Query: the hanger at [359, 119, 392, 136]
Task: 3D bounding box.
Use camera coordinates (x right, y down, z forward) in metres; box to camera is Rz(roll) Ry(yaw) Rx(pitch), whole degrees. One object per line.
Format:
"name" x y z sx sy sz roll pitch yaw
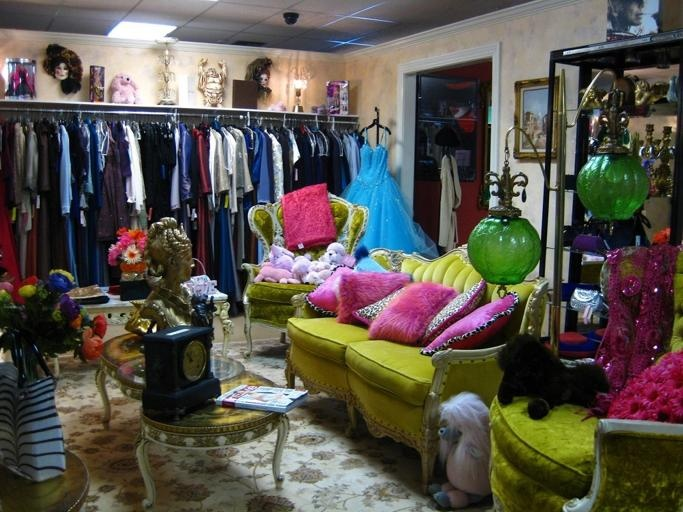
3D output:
"hanger" 0.404 -1.486 6.238 0.296 0.303 0.012 4 6 20

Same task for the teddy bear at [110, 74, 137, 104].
"teddy bear" -2.263 -1.723 5.572 0.248 0.301 0.185 -1 8 -16

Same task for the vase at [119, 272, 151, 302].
"vase" -1.457 0.225 3.790 0.232 0.166 0.128 0 7 -6

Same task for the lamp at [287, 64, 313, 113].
"lamp" -0.510 -1.978 6.366 0.239 0.597 0.443 1 8 2

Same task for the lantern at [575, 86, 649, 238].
"lantern" 1.247 -0.438 2.450 0.271 0.605 0.585 5 8 27

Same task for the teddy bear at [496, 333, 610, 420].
"teddy bear" 0.839 0.481 2.176 0.365 0.268 0.281 1 -4 5

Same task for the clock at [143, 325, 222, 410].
"clock" -0.678 0.481 2.259 0.191 0.319 0.336 -1 2 24

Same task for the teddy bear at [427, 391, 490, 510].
"teddy bear" 0.542 0.880 2.422 0.270 0.502 0.149 3 8 14

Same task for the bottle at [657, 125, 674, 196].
"bottle" 1.912 -0.560 3.167 0.072 0.407 0.094 -6 10 -44
